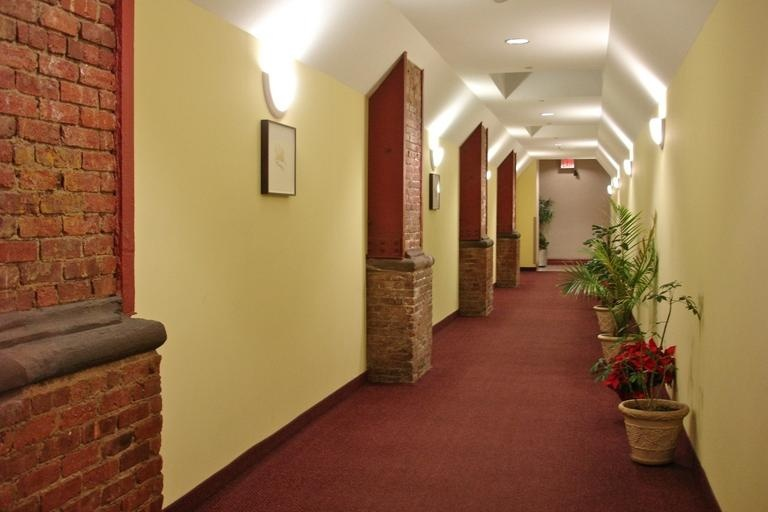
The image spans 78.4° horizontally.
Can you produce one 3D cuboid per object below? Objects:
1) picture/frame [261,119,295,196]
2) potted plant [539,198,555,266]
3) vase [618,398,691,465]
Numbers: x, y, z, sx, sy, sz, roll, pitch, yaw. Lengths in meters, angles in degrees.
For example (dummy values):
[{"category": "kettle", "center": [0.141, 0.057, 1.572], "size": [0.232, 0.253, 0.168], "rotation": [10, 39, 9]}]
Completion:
[{"category": "picture/frame", "center": [-0.885, -0.806, 3.965], "size": [0.087, 0.593, 0.450], "rotation": [1, 5, 17]}, {"category": "potted plant", "center": [6.633, -1.043, 19.495], "size": [0.549, 2.802, 1.633], "rotation": [2, 5, 23]}, {"category": "vase", "center": [2.124, 1.352, 3.835], "size": [0.520, 0.436, 0.534], "rotation": [-1, 0, 8]}]
